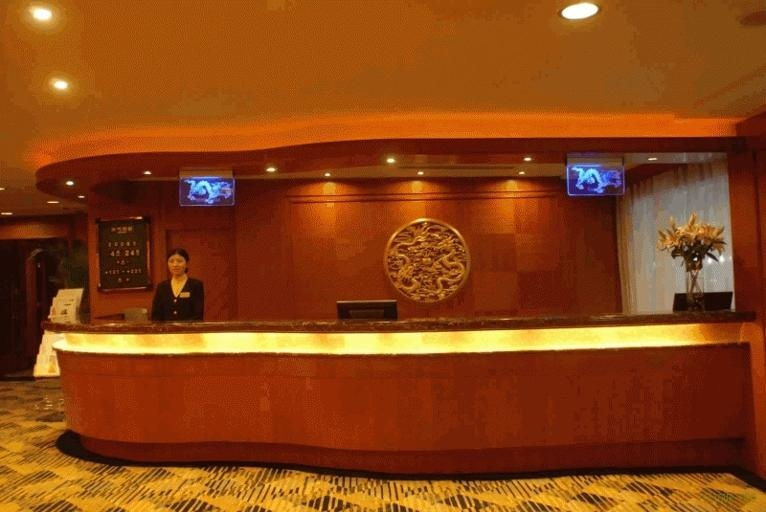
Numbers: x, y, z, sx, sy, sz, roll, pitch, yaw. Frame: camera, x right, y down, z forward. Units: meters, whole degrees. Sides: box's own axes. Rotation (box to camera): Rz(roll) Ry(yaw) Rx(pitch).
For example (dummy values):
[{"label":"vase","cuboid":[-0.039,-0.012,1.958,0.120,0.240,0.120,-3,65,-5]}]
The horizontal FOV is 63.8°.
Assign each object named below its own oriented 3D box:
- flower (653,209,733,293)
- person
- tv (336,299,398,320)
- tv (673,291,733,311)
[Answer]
[{"label":"flower","cuboid":[3.575,0.024,7.151,0.802,0.730,0.757,18,-19,-41]},{"label":"person","cuboid":[-2.553,0.353,7.732,0.643,0.869,0.322,0,4,17]},{"label":"tv","cuboid":[-0.180,0.589,6.771,0.633,0.186,0.102,-1,4,5]},{"label":"tv","cuboid":[3.589,0.510,6.945,0.580,0.198,0.425,0,4,27]}]
